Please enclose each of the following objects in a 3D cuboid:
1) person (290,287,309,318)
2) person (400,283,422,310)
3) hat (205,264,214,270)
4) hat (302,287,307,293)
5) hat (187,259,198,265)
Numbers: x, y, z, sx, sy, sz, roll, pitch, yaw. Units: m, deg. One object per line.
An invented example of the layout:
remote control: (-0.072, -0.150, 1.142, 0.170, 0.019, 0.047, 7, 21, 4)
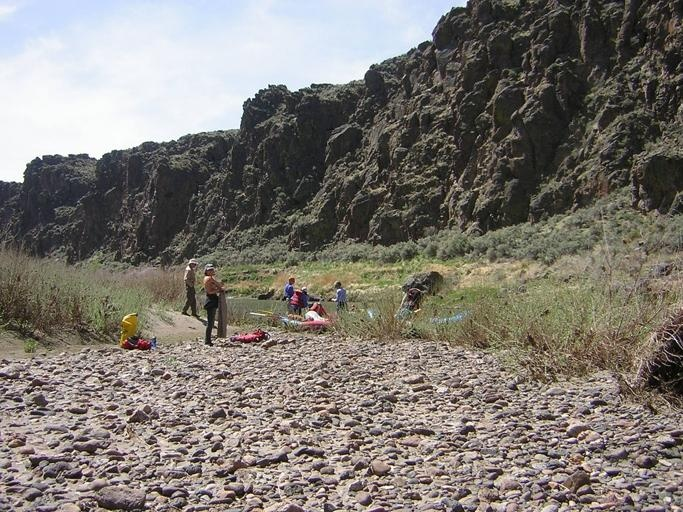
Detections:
person: (-1.368, 1.446, 23.183, 0.536, 0.906, 1.534, 0, 0, 1)
person: (1.776, 1.069, 18.007, 0.494, 0.473, 1.172, 0, 0, 10)
hat: (-4.641, 0.365, 25.585, 0.432, 0.220, 0.647, 0, 2, -10)
hat: (-1.166, 1.093, 23.449, 0.157, 0.172, 0.161, 0, 9, -24)
hat: (-8.403, 0.295, 41.389, 0.597, 0.239, 0.608, -2, -2, -7)
